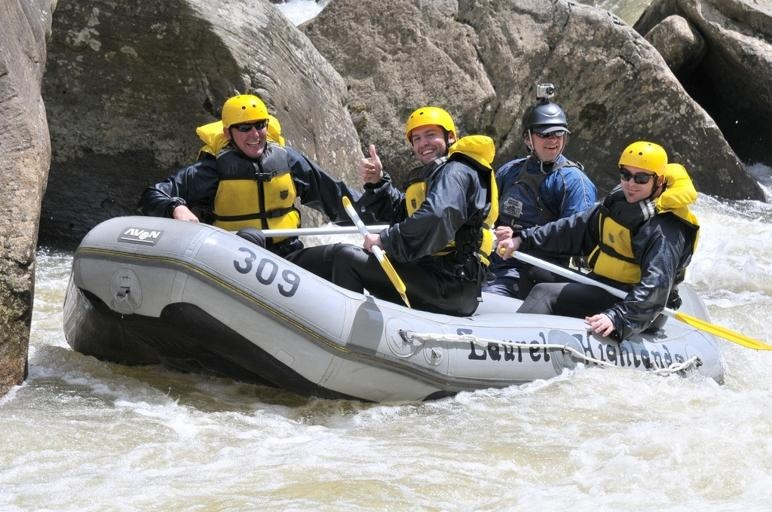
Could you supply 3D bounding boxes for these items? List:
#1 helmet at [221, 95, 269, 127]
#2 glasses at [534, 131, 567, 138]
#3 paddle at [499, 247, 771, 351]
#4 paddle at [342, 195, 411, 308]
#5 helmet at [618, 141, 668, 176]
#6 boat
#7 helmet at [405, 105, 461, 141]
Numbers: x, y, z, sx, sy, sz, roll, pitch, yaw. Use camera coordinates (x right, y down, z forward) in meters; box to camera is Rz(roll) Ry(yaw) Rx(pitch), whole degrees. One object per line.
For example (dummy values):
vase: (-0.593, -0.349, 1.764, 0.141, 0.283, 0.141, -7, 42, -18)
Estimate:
helmet: (-1.132, -1.185, 8.488, 0.322, 0.182, 0.258, 19, 31, 38)
glasses: (1.498, -1.100, 9.497, 0.300, 0.076, 0.106, 2, 12, -9)
paddle: (2.047, 0.376, 8.922, 2.095, 0.155, 0.088, 23, 31, -2)
paddle: (-0.055, -0.026, 8.237, 0.127, 1.119, 0.114, -40, -6, -27)
helmet: (2.124, -0.793, 8.574, 0.262, 0.249, 0.343, 18, -14, 41)
boat: (-0.320, 0.555, 8.063, 3.316, 0.609, 1.899, 13, -5, -23)
helmet: (0.382, -1.045, 8.459, 0.330, 0.391, 0.298, -1, 43, 19)
